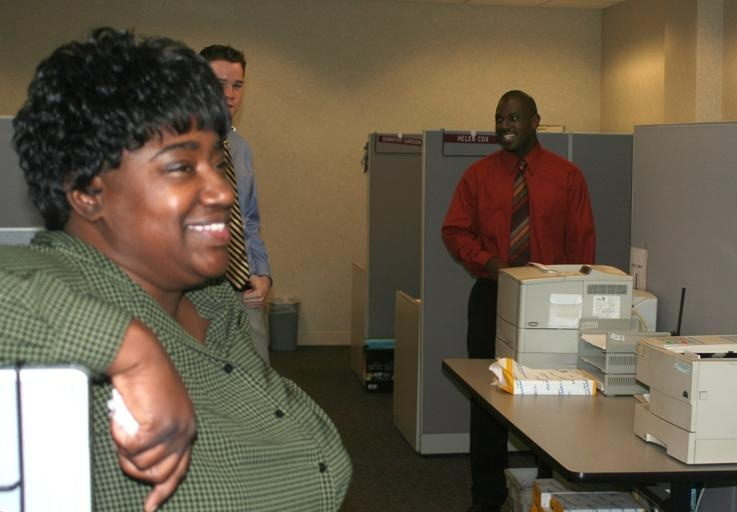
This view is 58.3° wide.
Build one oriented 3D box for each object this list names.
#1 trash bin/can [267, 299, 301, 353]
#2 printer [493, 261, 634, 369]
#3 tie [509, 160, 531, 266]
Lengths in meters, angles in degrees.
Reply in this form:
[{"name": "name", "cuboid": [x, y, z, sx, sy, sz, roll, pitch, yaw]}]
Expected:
[{"name": "trash bin/can", "cuboid": [-0.783, 0.626, 6.057, 0.330, 0.460, 0.359, 3, -3, -5]}, {"name": "printer", "cuboid": [0.734, 0.223, 2.566, 0.507, 0.402, 0.493, 0, 5, -19]}, {"name": "tie", "cuboid": [0.726, -0.207, 3.184, 0.097, 0.499, 0.128, 2, 6, 6]}]
